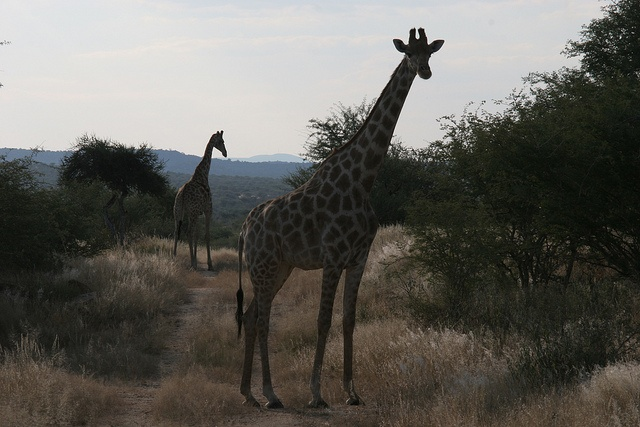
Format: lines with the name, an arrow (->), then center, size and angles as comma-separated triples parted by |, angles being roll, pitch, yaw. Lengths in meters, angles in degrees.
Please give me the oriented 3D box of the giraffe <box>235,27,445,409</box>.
giraffe -> 0.082, 0.209, 18.835 | 4.710, 8.117, 1.940 | -7, 11, -9
